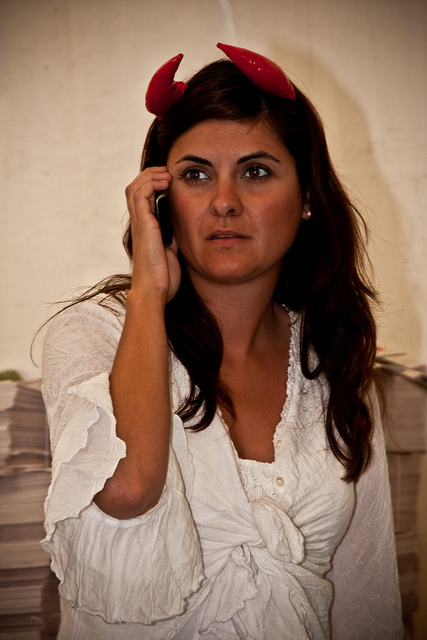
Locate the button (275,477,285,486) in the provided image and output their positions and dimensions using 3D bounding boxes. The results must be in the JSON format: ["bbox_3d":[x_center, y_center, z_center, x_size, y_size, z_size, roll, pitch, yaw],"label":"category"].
[{"bbox_3d":[0.115,0.279,1.135,0.014,0.009,0.013,2,2,3],"label":"button"}]

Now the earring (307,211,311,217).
[{"bbox_3d":[0.195,-0.220,1.349,0.002,0.007,0.008,0,-1,-37],"label":"earring"}]

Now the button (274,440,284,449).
[{"bbox_3d":[0.119,0.222,1.173,0.014,0.003,0.012,-7,45,-4],"label":"button"}]
